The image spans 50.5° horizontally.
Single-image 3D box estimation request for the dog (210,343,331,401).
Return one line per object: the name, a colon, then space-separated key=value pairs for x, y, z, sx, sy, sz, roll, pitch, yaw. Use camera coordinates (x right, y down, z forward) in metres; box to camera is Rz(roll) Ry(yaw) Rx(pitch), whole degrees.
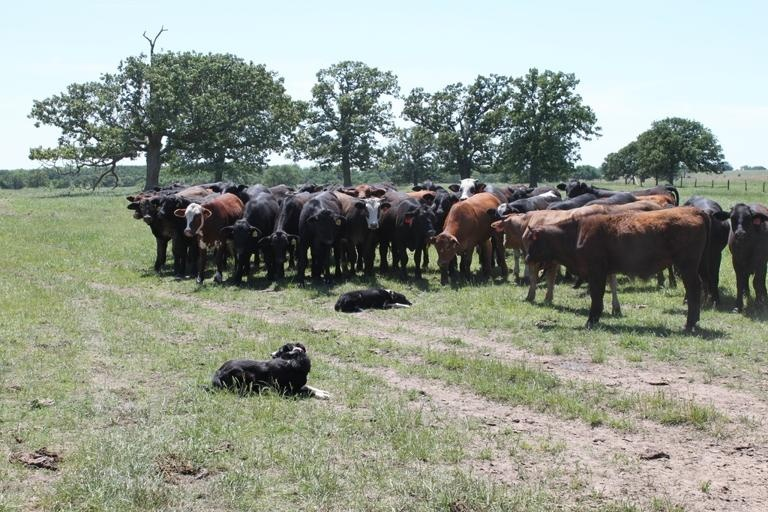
dog: x=-2.318 y=2.296 z=16.347 sx=2.196 sy=1.043 sz=1.068 roll=1 pitch=-1 yaw=-5
